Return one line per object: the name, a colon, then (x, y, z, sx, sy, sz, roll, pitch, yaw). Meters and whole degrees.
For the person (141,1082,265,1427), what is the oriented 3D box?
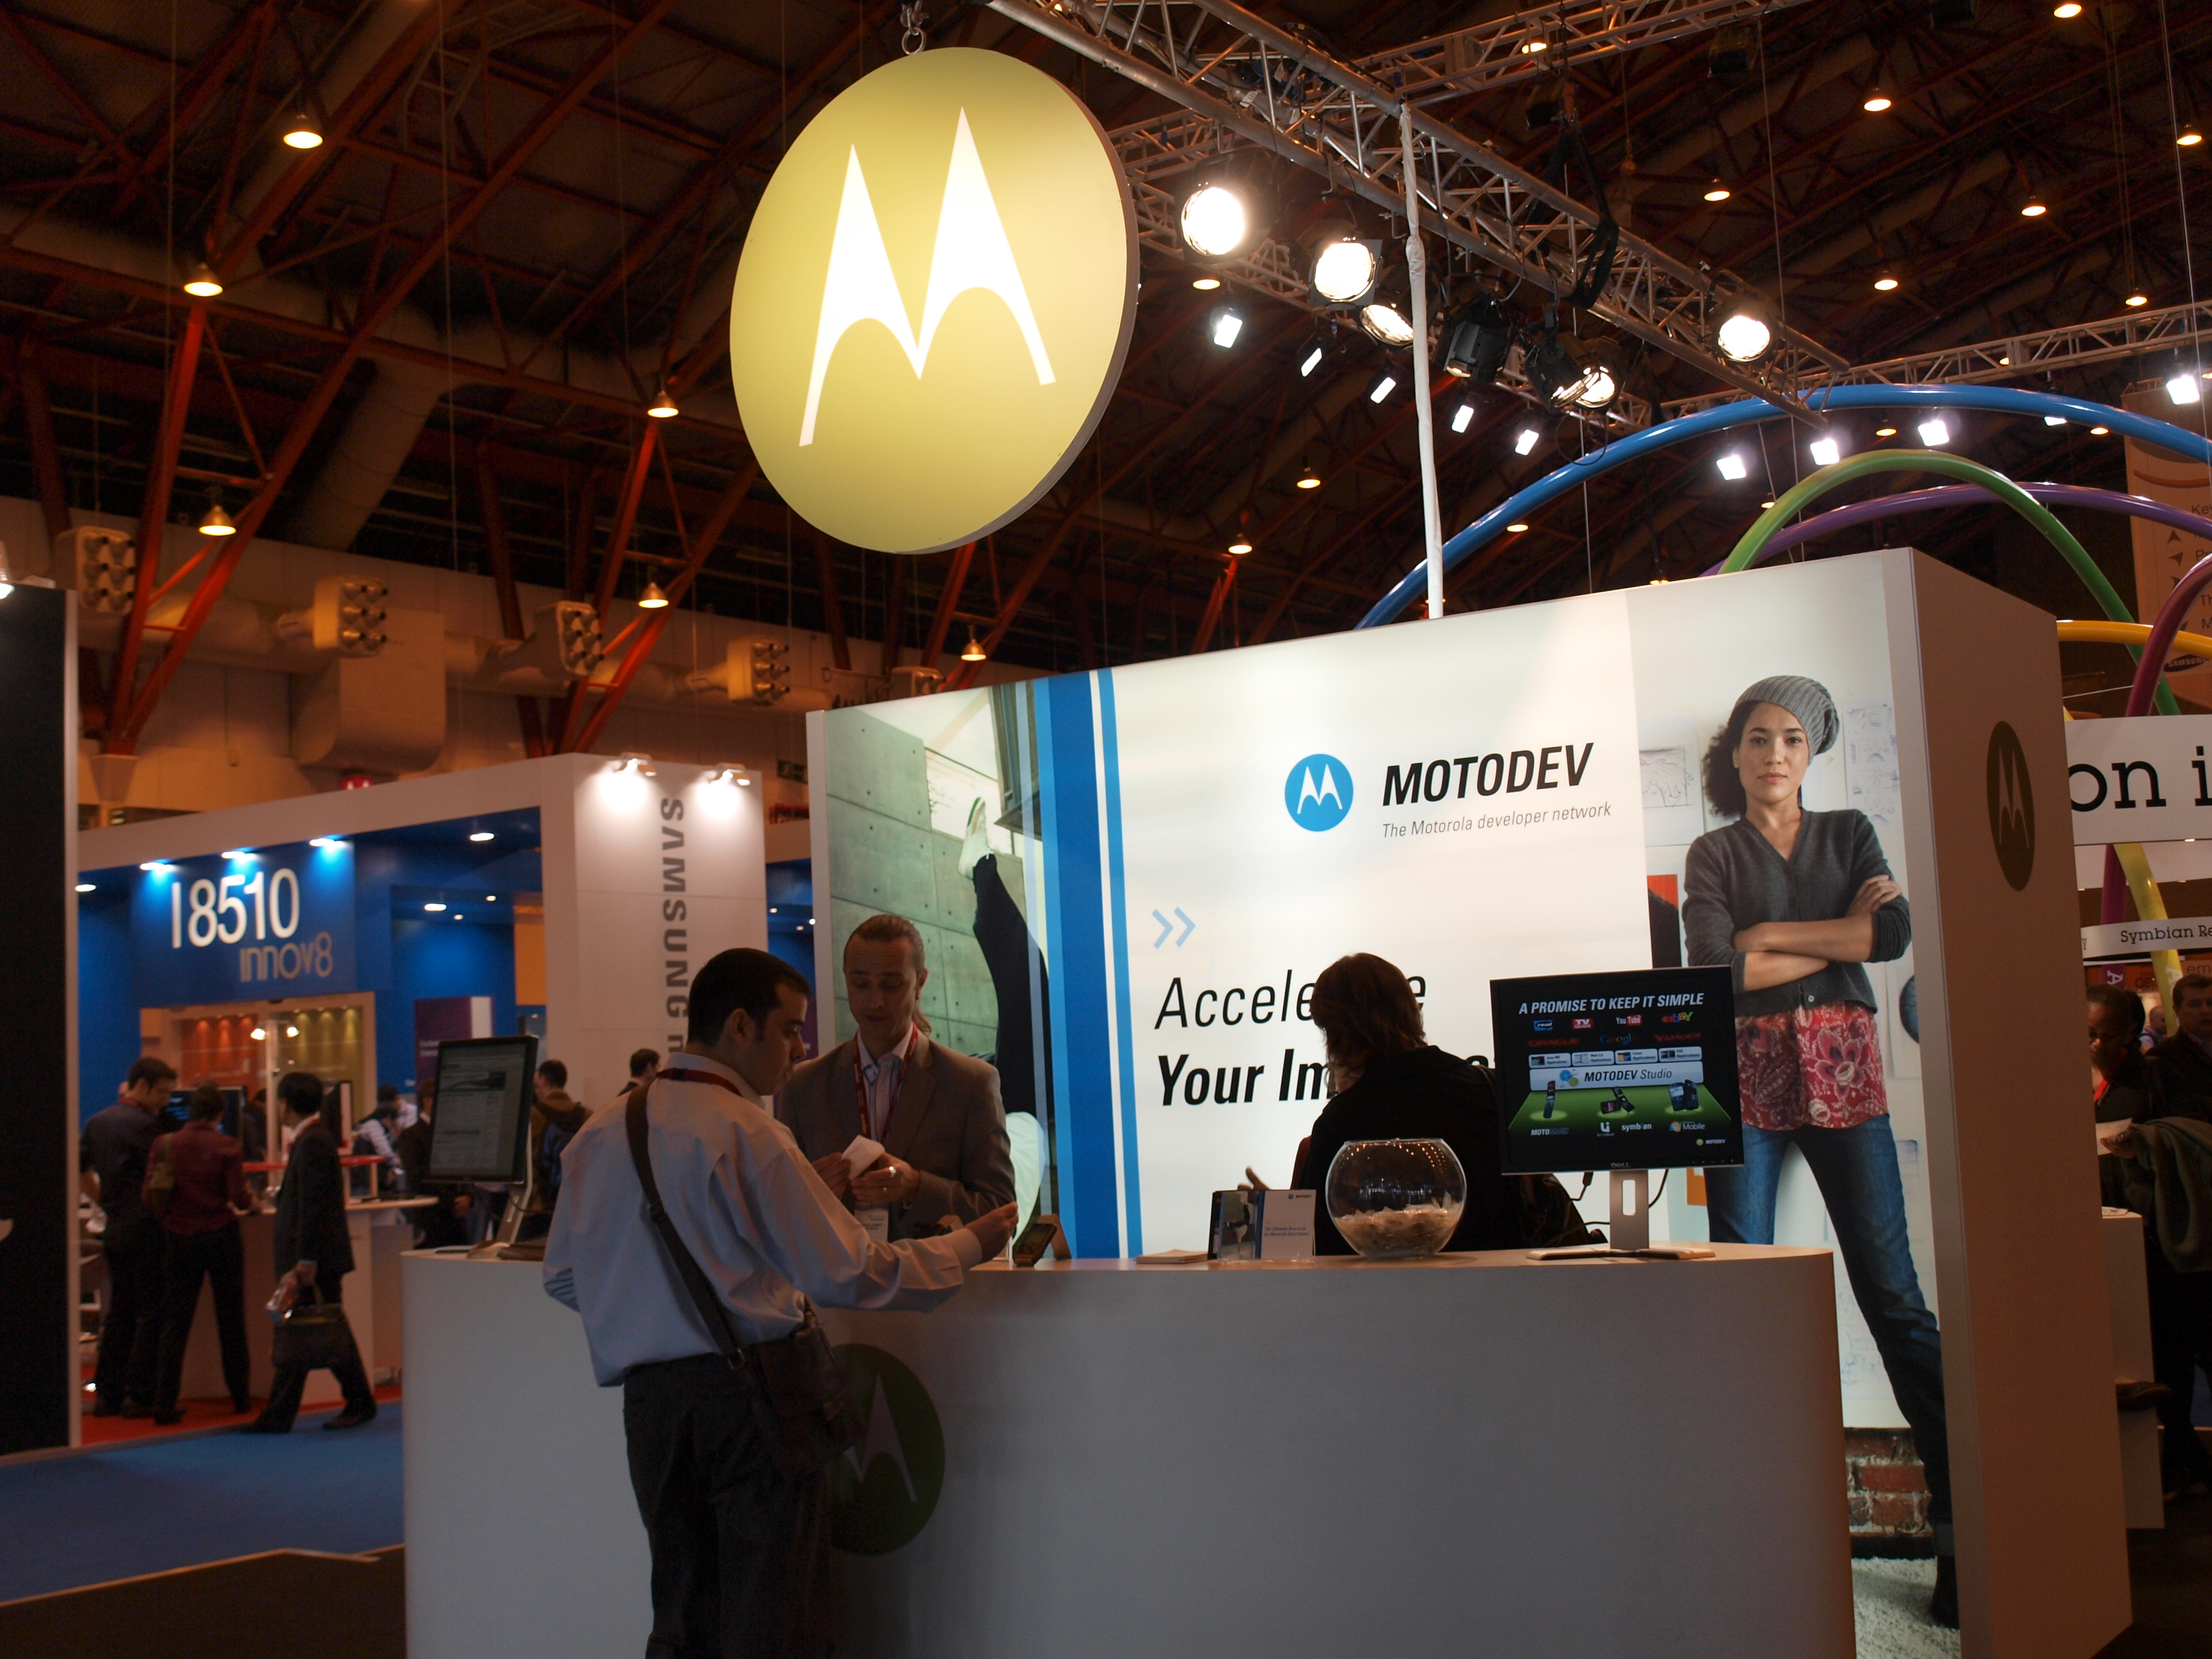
person: (-4.216, 1.836, 9.141, 0.397, 1.583, 0.422, -1, 22, -25)

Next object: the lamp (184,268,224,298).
lamp: (-4.999, -2.770, 10.839, 0.187, 0.148, 0.211, 0, 1, -3)

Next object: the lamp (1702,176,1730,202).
lamp: (4.819, -4.678, 15.537, 0.143, 0.186, 0.161, 1, 0, -21)

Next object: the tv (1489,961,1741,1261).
tv: (0.999, 0.564, 3.827, 0.445, 0.196, 0.644, -4, 40, 14)

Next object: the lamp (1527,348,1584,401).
lamp: (2.344, -2.180, 10.323, 0.262, 0.182, 0.655, -4, -7, 13)

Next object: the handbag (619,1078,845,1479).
handbag: (-0.665, 0.866, 3.920, 0.146, 0.690, 0.446, -21, 15, -30)

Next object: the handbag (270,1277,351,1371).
handbag: (-3.329, 2.027, 8.238, 0.274, 0.300, 0.477, 2, -8, -31)

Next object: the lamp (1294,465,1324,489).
lamp: (1.873, -2.985, 18.297, 0.188, 0.246, 0.205, 5, -6, -27)

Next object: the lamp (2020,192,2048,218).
lamp: (7.752, -4.869, 16.493, 0.151, 0.043, 0.155, 16, -29, -33)

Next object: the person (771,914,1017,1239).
person: (-0.509, 0.634, 4.928, 0.465, 1.142, 0.371, -5, -12, 2)

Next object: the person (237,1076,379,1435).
person: (-3.471, 1.803, 8.623, 0.495, 1.453, 1.243, 1, -7, -22)

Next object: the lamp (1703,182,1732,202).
lamp: (4.821, -4.649, 15.526, 0.138, 0.185, 0.161, 0, 1, -6)
